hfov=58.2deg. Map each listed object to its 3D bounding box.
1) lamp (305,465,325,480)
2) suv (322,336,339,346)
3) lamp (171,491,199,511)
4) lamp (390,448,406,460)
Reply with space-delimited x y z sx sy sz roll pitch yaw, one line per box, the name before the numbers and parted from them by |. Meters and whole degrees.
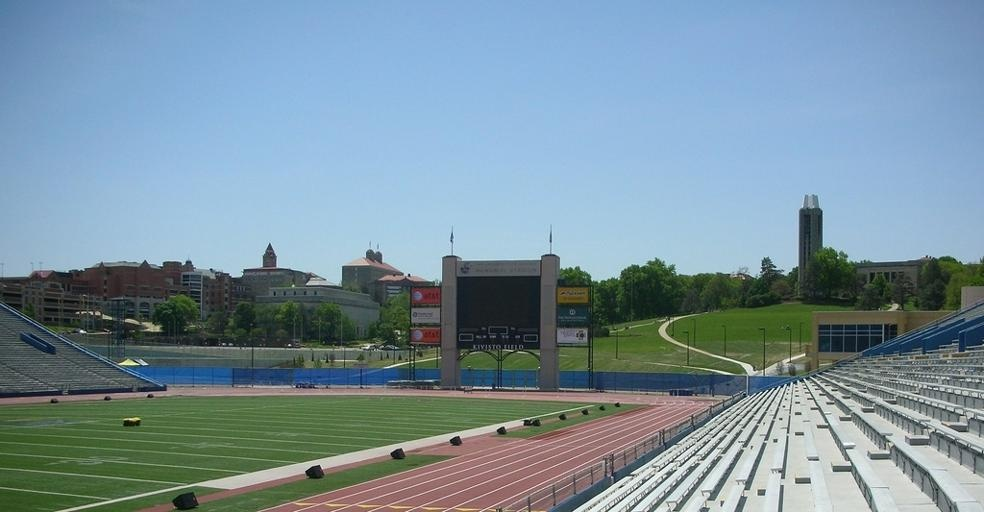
lamp | -13.095 16.135 66.033 1.047 0.681 1.037 3 -3 11
suv | -37.863 20.034 209.905 4.274 2.321 6.850 3 -9 -11
lamp | -21.264 17.037 61.515 1.335 0.919 1.363 -11 -8 37
lamp | -7.289 15.643 69.827 0.940 0.747 0.801 -18 -19 39
